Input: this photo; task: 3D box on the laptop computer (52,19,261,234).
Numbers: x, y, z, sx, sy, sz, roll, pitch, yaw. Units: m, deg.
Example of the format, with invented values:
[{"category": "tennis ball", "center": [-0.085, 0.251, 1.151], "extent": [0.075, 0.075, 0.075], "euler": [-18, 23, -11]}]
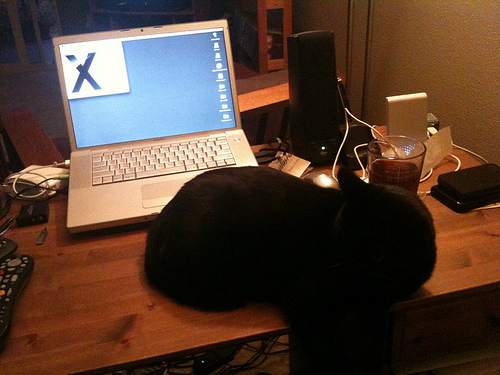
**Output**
[{"category": "laptop computer", "center": [-0.227, -0.167, 1.005], "extent": [0.517, 0.267, 0.466], "euler": [-18, 47, -18]}]

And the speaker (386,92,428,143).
[{"category": "speaker", "center": [0.428, -0.194, 1.192], "extent": [0.145, 0.133, 0.113], "euler": [-6, 19, -1]}]

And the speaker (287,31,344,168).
[{"category": "speaker", "center": [0.180, -0.236, 1.118], "extent": [0.144, 0.324, 0.211], "euler": [-3, 36, 4]}]

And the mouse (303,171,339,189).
[{"category": "mouse", "center": [0.171, -0.016, 1.004], "extent": [0.053, 0.014, 0.043], "euler": [3, 15, -23]}]

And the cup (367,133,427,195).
[{"category": "cup", "center": [0.343, -0.071, 1.013], "extent": [0.135, 0.152, 0.155], "euler": [-4, 27, -2]}]

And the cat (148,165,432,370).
[{"category": "cat", "center": [0.058, 0.169, 0.871], "extent": [0.537, 0.249, 0.362], "euler": [8, 52, 20]}]
